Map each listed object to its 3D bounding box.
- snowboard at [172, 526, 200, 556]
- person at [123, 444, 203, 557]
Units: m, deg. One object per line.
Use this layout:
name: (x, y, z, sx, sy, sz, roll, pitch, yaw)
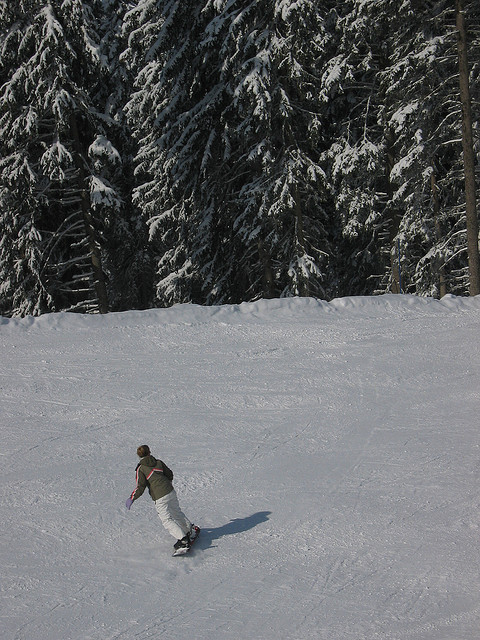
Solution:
snowboard: (-0.622, 2.660, 12.507, 0.528, 0.136, 0.143, -11, -9, -28)
person: (-0.915, 2.167, 12.645, 0.541, 1.362, 0.546, -32, -11, 40)
